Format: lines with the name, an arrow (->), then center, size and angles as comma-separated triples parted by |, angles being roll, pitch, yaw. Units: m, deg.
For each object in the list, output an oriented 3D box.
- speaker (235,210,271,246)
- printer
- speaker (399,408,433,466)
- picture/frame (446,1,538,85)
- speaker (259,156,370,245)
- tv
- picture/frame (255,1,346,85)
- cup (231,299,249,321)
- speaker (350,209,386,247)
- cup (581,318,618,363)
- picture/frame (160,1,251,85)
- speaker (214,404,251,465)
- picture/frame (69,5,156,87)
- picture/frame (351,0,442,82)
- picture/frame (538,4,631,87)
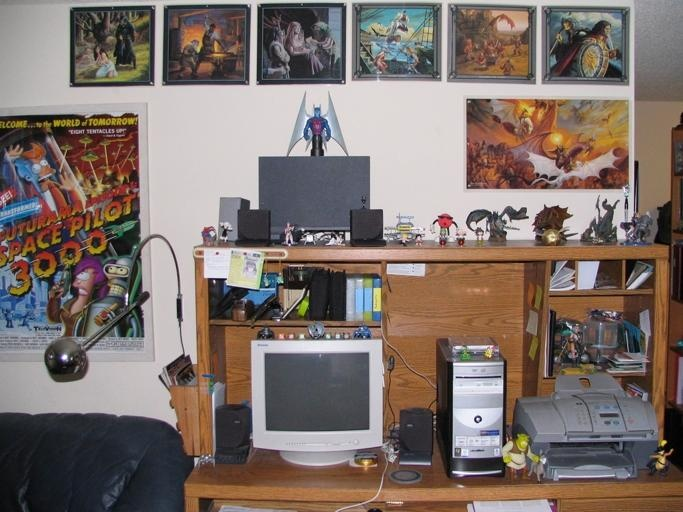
speaker -> -0.473, -0.163, 3.566 | 0.192, 0.197, 0.149 | 2, 8, 9
printer -> 1.287, 0.882, 3.346 | 0.639, 0.460, 0.466 | -1, 14, 4
speaker -> 0.359, 0.976, 3.539 | 0.233, 0.354, 0.243 | 0, -1, 3
picture/frame -> 0.884, -1.275, 3.806 | 0.434, 0.391, 0.036 | 1, 0, 0
speaker -> -0.146, -0.340, 3.832 | 0.693, 0.508, 0.404 | -3, 2, -4
tv -> -0.142, 0.757, 3.666 | 0.710, 0.698, 0.444 | -1, 7, -6
picture/frame -> -0.224, -1.277, 3.813 | 0.460, 0.411, 0.048 | 0, 2, 1
cup -> -0.571, 0.294, 3.566 | 0.093, 0.110, 0.110 | -2, 6, 4
speaker -> 0.123, -0.146, 3.560 | 0.177, 0.249, 0.191 | 0, -8, -2
cup -> 1.489, 0.496, 3.729 | 0.207, 0.250, 0.205 | 5, -4, 0
picture/frame -> -0.781, -1.269, 3.834 | 0.461, 0.414, 0.022 | 0, 6, -1
speaker -> -0.582, 0.950, 3.465 | 0.251, 0.294, 0.213 | 0, 2, 8
picture/frame -> -1.345, -1.272, 3.860 | 0.452, 0.479, 0.035 | 0, 5, 3
picture/frame -> 0.324, -1.290, 3.805 | 0.420, 0.380, 0.072 | 1, 1, -1
picture/frame -> 1.427, -1.266, 3.810 | 0.430, 0.389, 0.051 | 0, 5, 2
